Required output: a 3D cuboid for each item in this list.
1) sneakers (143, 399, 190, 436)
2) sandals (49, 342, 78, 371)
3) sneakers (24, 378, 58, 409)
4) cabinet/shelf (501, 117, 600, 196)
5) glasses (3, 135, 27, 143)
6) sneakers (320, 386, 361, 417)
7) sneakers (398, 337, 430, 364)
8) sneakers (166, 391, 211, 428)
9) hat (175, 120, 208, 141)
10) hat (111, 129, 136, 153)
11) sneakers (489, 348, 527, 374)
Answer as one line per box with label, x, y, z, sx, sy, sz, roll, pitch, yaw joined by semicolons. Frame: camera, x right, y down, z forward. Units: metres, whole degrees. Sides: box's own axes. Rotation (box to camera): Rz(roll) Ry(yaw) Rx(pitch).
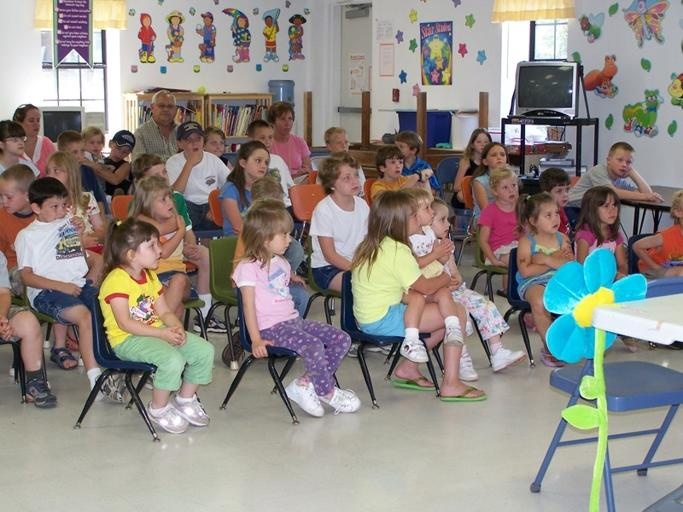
sneakers;-0.847;0.797;3.016;0.219;0.099;0.102;29;22;0
sandals;-1.743;0.618;3.857;0.205;0.085;0.102;19;24;40
sneakers;-1.614;0.729;3.302;0.210;0.101;0.102;8;7;29
cabinet/shelf;2.410;-1.162;7.217;1.009;1.013;0.777;5;7;37
glasses;-2.373;-0.838;4.427;0.128;0.053;0.074;-6;14;-29
sneakers;-0.009;0.765;3.255;0.202;0.117;0.081;17;-14;-12
sneakers;0.376;0.499;3.255;0.092;0.074;0.154;-7;10;-38
sneakers;-0.752;0.762;3.115;0.240;0.108;0.102;40;12;4
hat;-1.362;-1.092;5.410;0.183;0.103;0.253;-15;14;-25
hat;-2.091;-1.105;5.895;0.162;0.137;0.229;21;1;-31
sneakers;0.985;0.636;3.756;0.244;0.139;0.099;-18;9;9
